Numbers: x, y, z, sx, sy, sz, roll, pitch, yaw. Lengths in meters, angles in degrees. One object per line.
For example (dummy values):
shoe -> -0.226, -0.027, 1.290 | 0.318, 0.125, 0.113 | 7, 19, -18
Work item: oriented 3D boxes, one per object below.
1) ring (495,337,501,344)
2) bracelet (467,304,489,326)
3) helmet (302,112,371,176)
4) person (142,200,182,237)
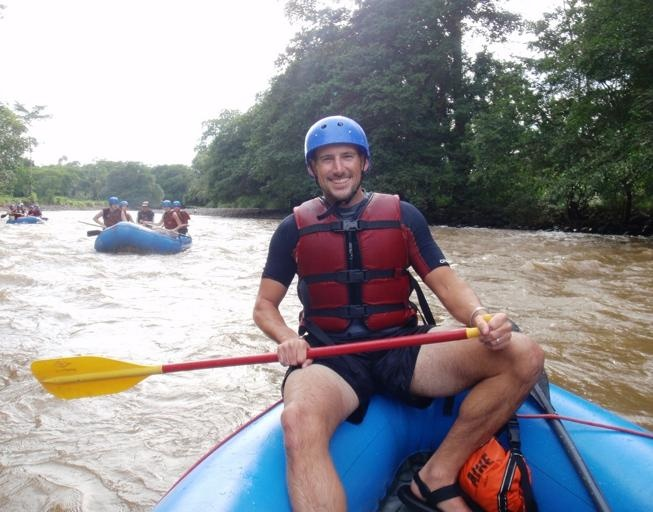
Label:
ring -> 0.810, 0.397, 2.574 | 0.022, 0.030, 0.008 | -1, -1, 5
bracelet -> 0.771, 0.308, 2.782 | 0.083, 0.101, 0.116 | 3, 6, 16
helmet -> 0.054, -0.686, 3.253 | 0.288, 0.285, 0.365 | -3, 17, 3
person -> -3.821, -1.038, 13.207 | 0.777, 0.692, 0.898 | -19, 31, -30
